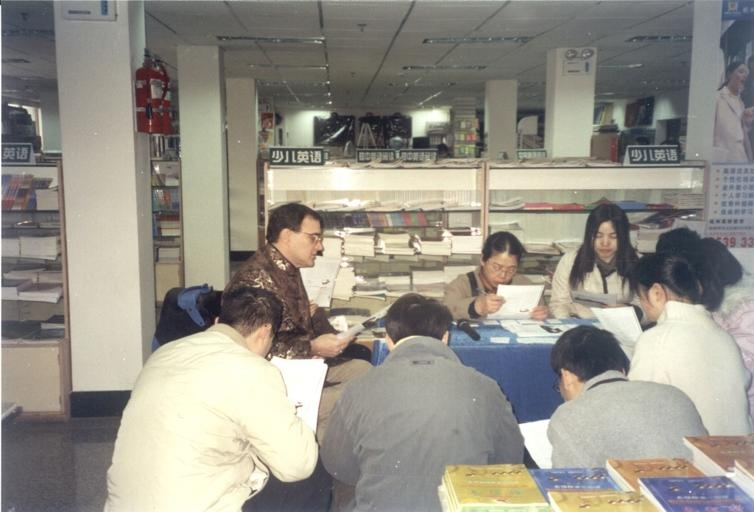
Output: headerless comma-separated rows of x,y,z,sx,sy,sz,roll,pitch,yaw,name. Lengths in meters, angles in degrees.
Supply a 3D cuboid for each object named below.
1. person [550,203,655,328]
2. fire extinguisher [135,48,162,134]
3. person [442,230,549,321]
1.887,0.040,5.488,1.046,1.271,0.981,3,6,16,person
-1.954,-1.391,5.428,0.221,0.666,0.179,-4,8,-21,fire extinguisher
1.047,0.264,5.470,0.881,0.801,1.060,7,21,14,person
